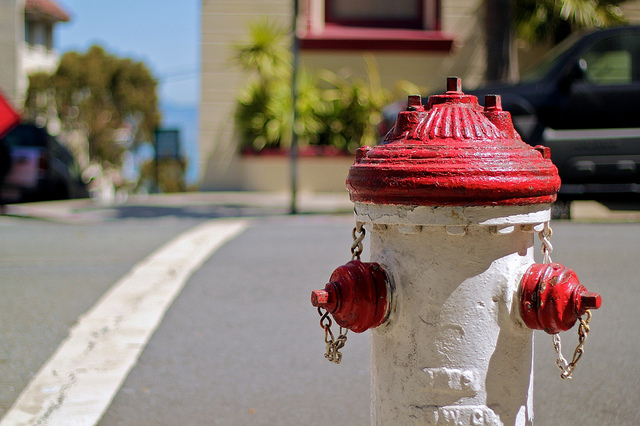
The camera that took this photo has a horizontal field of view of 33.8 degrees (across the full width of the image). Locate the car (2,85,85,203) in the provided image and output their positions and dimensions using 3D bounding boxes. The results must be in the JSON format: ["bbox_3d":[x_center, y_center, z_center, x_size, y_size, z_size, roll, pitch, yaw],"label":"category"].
[{"bbox_3d":[-4.624,-0.902,17.665,0.965,1.152,2.115,-1,5,2],"label":"car"}]

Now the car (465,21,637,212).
[{"bbox_3d":[3.522,-1.554,16.949,2.949,2.198,2.171,2,-1,8],"label":"car"}]
